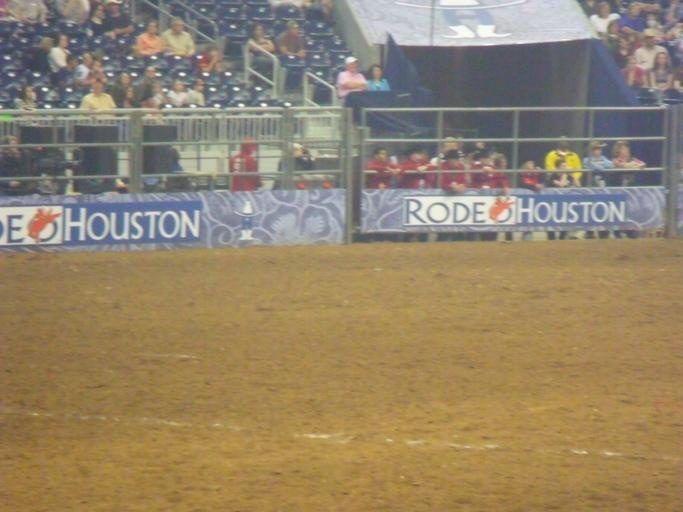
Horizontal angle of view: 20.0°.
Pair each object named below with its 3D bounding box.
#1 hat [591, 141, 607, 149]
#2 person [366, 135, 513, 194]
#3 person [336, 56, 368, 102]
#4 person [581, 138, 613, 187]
[{"bbox_3d":[4.633,-1.999,34.858,0.315,0.136,0.066,-3,5,-29],"label":"hat"},{"bbox_3d":[1.711,-1.595,34.571,2.565,0.972,0.428,-1,5,3],"label":"person"},{"bbox_3d":[0.203,-3.349,36.847,0.573,0.842,0.742,-1,5,0],"label":"person"},{"bbox_3d":[4.639,-1.657,34.861,0.550,0.820,0.159,-2,5,-10],"label":"person"}]
